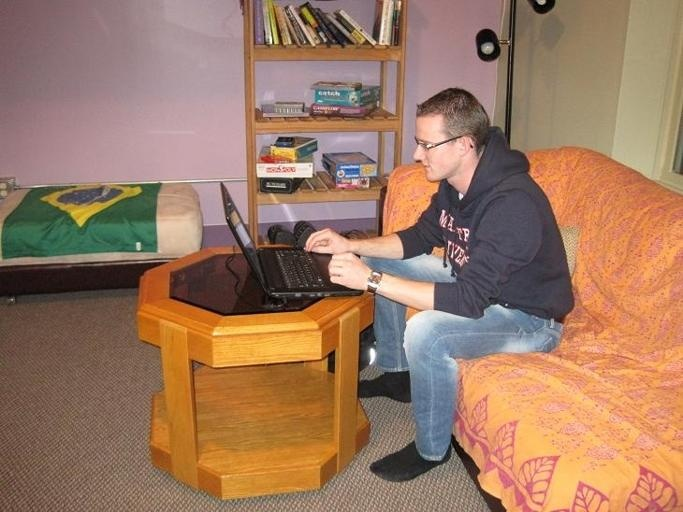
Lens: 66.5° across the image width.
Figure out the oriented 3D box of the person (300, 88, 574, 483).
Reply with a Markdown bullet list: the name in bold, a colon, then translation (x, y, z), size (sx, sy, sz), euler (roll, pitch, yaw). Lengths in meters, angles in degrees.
- **person**: translation (0.361, 0.049, 2.200), size (0.917, 1.405, 0.938), euler (-13, 18, -34)

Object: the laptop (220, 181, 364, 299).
- **laptop**: translation (-0.199, 0.007, 1.998), size (0.472, 0.315, 0.513), euler (-5, 22, -16)

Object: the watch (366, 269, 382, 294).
- **watch**: translation (0.116, 0.093, 1.870), size (0.046, 0.077, 0.074), euler (14, 51, 18)

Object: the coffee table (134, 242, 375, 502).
- **coffee table**: translation (-0.341, 0.433, 2.180), size (0.907, 0.689, 0.915), euler (10, 18, 27)
